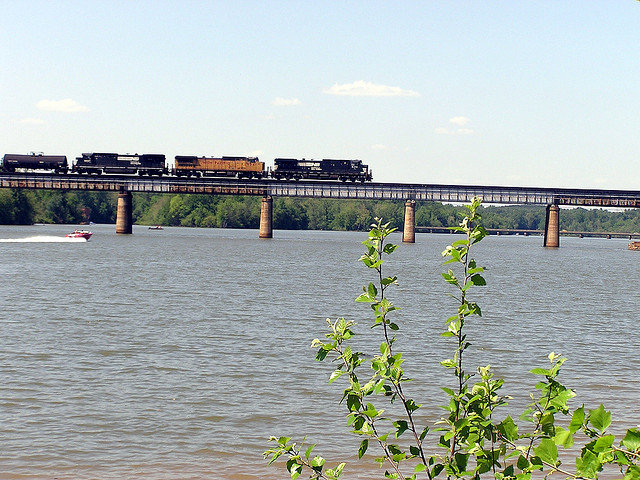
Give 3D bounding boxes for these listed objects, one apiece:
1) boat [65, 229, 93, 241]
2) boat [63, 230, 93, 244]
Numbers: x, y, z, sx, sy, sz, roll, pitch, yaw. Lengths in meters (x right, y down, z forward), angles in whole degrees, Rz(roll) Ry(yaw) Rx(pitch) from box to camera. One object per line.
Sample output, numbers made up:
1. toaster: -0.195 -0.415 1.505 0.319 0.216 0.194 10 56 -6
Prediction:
1. boat: -25.121 -0.292 150.697 3.189 1.133 1.037 1 13 28
2. boat: -23.474 -0.005 137.741 3.411 1.242 1.135 -3 11 43
